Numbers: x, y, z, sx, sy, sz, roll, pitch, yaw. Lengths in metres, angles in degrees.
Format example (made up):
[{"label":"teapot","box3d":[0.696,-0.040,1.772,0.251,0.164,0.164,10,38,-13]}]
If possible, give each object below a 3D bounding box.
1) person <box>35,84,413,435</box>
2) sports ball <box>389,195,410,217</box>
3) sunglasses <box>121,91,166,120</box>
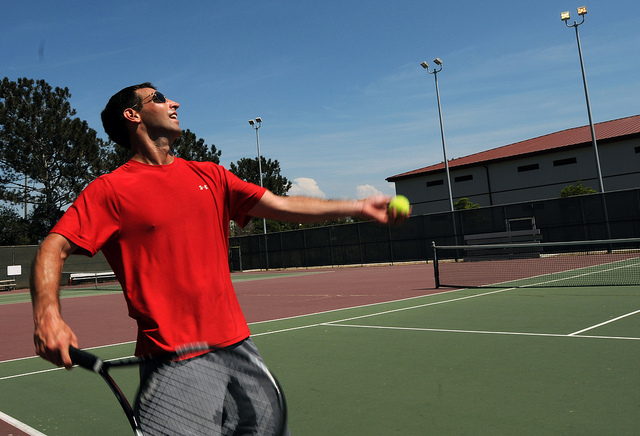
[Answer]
[{"label":"person","box3d":[-0.663,0.156,2.334,1.383,1.949,0.549,-5,-3,0]},{"label":"sports ball","box3d":[0.459,-0.080,2.701,0.125,0.160,0.123,0,7,0]},{"label":"sunglasses","box3d":[-0.968,-0.666,2.511,0.186,0.086,0.025,-5,-3,-9]}]
